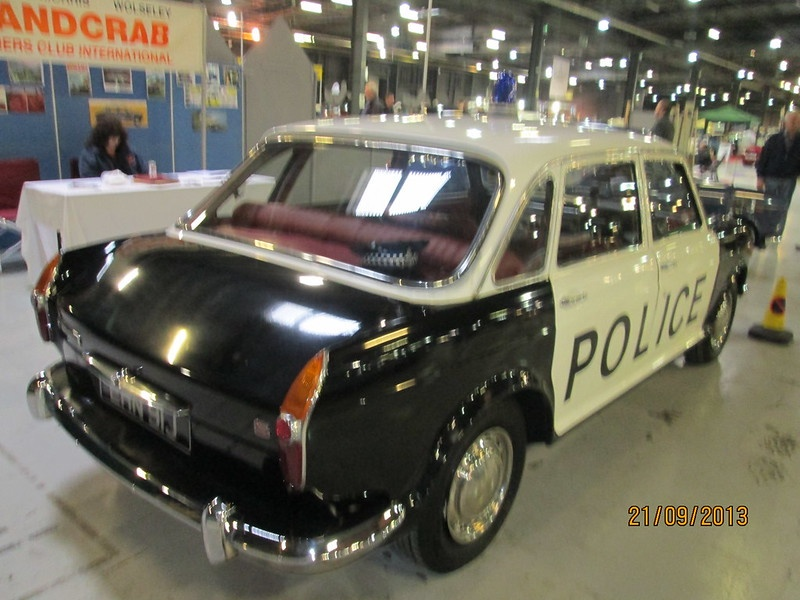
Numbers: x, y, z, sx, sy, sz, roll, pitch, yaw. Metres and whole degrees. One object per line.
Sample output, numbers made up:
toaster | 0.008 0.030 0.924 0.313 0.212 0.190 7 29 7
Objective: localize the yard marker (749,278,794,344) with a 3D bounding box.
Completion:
yard marker | 3.617 0.130 5.458 0.371 0.507 0.403 10 27 22

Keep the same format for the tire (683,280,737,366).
tire | 2.439 0.149 4.402 0.617 0.703 0.208 -13 20 -40

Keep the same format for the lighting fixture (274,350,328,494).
lighting fixture | -0.316 0.402 1.903 0.112 0.423 0.207 15 26 32

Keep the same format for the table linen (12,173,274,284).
table linen | -1.698 -0.467 3.567 0.723 0.345 1.163 22 30 40

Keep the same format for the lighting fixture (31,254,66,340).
lighting fixture | -1.614 -0.013 2.603 0.073 0.360 0.235 2 7 21

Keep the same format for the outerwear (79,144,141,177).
outerwear | -3.092 -1.476 5.949 0.243 0.397 0.515 2 21 31

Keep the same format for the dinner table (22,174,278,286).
dinner table | -2.318 -0.454 5.575 1.323 0.633 2.171 21 30 39

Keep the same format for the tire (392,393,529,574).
tire | 0.231 0.743 2.279 0.192 0.669 0.601 11 26 39
